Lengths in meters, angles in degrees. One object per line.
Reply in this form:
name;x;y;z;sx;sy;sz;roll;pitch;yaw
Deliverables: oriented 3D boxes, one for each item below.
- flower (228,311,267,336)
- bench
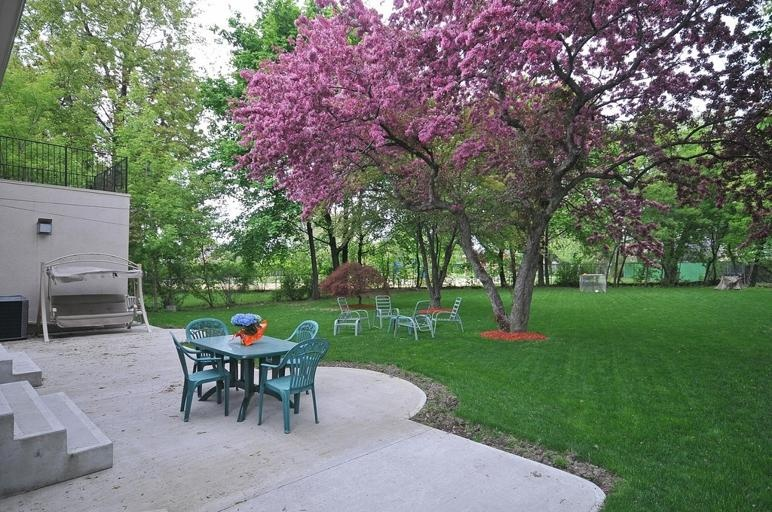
flower;-3.112;1.434;10.651;0.581;0.435;0.565;-3;-5;15
bench;-9.788;1.225;16.356;3.022;2.934;2.109;1;-4;-42
